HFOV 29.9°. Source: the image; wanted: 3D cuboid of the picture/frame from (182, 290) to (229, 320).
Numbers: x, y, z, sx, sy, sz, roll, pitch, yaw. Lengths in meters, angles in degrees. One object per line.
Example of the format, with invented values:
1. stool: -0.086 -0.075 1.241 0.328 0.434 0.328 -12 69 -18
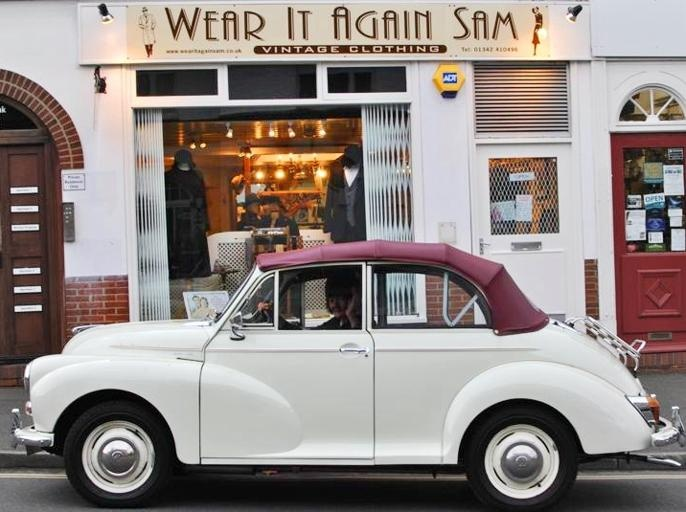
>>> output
1. picture/frame: -1.810 0.657 17.187 0.605 0.046 0.618 0 37 -2

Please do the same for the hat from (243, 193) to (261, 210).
1. hat: -1.283 -0.755 18.475 0.244 0.328 0.172 3 -9 -4

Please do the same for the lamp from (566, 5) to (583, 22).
1. lamp: 3.310 -3.413 18.183 0.243 0.209 0.237 -1 0 0

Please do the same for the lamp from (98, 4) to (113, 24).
1. lamp: -3.298 -3.334 17.819 0.184 0.190 0.241 -2 0 20
